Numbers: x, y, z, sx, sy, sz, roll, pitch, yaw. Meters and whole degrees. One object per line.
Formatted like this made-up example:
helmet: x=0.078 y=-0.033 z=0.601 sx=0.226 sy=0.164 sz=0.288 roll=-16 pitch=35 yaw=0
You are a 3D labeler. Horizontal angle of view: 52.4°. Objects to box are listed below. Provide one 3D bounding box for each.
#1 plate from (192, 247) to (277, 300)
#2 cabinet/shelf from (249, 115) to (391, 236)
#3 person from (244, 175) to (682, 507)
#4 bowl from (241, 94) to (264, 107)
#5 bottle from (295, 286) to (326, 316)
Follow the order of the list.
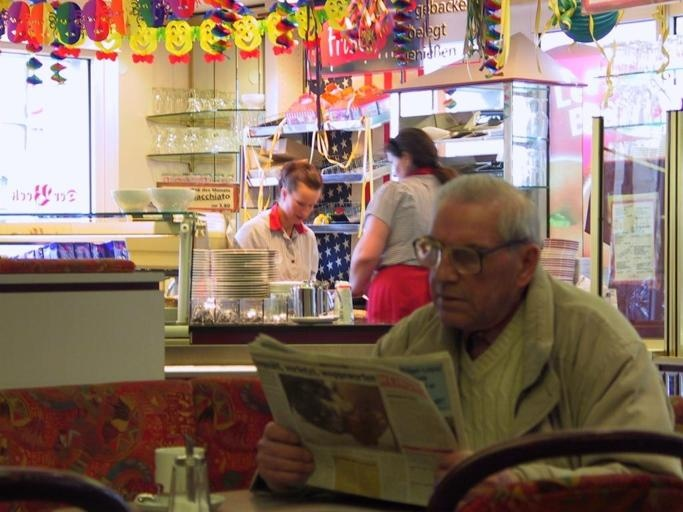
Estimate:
plate: x=-0.466 y=0.079 z=2.962 sx=0.229 sy=0.136 sz=0.241 roll=-1 pitch=-1 yaw=24
cabinet/shelf: x=-0.158 y=-0.684 z=5.711 sx=1.137 sy=1.024 sz=0.389 roll=2 pitch=-3 yaw=28
person: x=0.308 y=0.187 z=1.770 sx=0.809 sy=0.732 sz=0.929 roll=6 pitch=-7 yaw=-30
bowl: x=-0.881 y=-1.558 z=6.925 sx=0.235 sy=0.165 sz=0.305 roll=-2 pitch=7 yaw=-9
bottle: x=-0.135 y=0.190 z=2.974 sx=0.121 sy=0.128 sz=0.114 roll=0 pitch=0 yaw=-7
